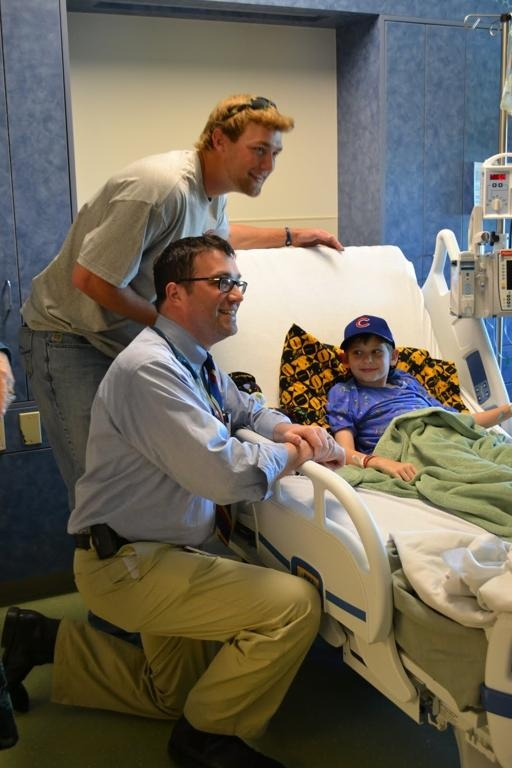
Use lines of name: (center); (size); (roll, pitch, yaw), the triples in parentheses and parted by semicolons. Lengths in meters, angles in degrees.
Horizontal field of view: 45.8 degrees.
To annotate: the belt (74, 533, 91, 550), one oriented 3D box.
belt: (-0.425, 0.395, 1.513); (0.042, 0.056, 0.022); (6, 11, 28)
